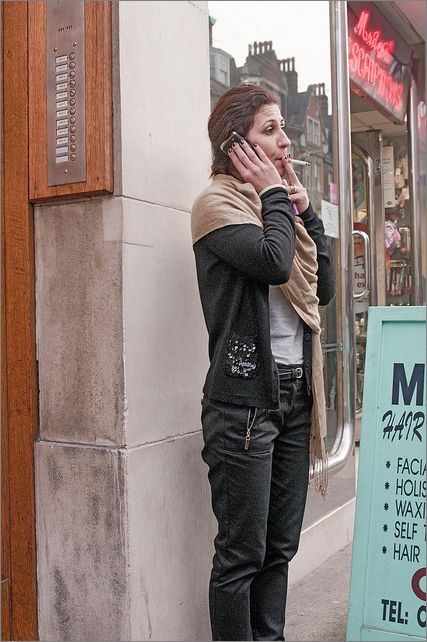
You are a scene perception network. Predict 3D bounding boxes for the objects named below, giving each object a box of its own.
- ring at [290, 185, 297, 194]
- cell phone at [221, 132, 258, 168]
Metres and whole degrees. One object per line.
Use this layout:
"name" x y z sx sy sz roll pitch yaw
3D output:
"ring" 0.228 -0.376 2.025 0.014 0.033 0.021 -2 9 15
"cell phone" 0.060 -0.466 1.926 0.019 0.076 0.072 -27 -19 -33
